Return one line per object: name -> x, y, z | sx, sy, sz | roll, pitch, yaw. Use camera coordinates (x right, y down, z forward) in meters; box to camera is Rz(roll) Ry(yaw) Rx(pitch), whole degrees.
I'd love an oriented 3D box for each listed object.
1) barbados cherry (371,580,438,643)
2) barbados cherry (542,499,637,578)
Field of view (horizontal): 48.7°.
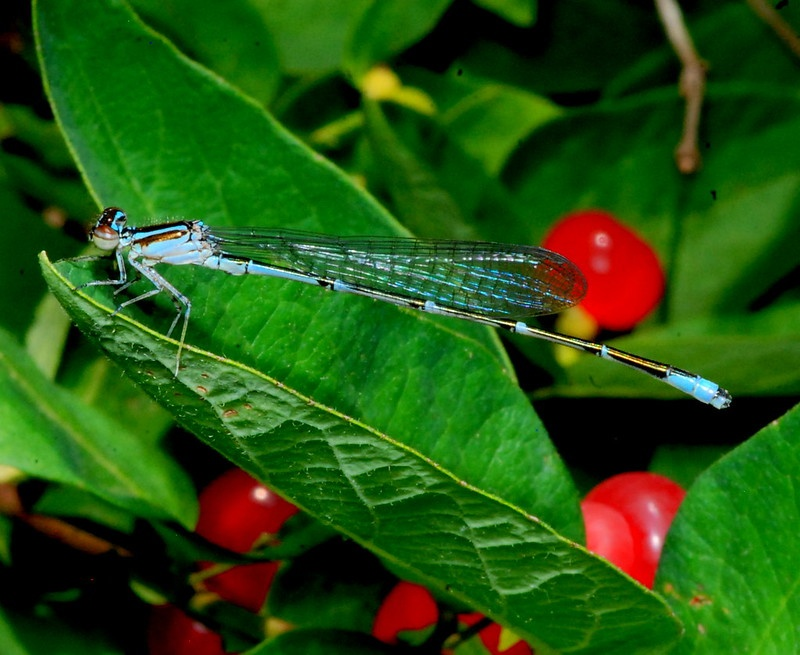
barbados cherry -> 0.013, 0.494, 1.512 | 0.087, 0.046, 0.107 | 19, 57, 29
barbados cherry -> 0.338, 0.375, 1.670 | 0.175, 0.142, 0.150 | -4, 17, -7
